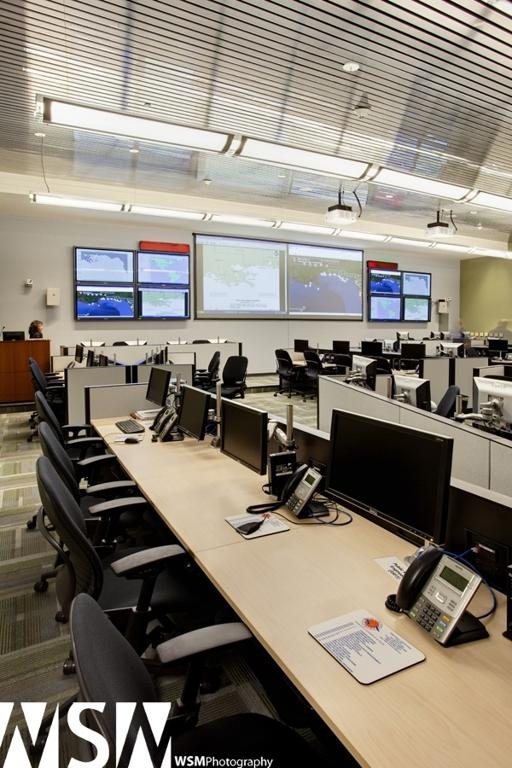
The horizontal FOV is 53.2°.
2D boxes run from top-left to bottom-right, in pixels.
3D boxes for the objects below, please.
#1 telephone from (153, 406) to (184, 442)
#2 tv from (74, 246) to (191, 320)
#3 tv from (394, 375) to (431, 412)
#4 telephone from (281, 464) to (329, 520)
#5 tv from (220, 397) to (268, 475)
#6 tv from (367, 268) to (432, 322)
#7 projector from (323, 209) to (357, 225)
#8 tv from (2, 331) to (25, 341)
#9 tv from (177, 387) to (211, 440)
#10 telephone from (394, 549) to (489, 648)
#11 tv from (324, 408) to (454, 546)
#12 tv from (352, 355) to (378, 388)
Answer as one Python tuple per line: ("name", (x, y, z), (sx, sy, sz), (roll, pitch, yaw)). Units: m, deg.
("telephone", (-0.545, 0.192, 3.203), (0.157, 0.274, 0.287), (4, 1, -14))
("tv", (-2.360, -1.866, 9.439), (1.453, 1.025, 0.113), (-2, 2, -28))
("tv", (1.015, 0.065, 3.333), (0.073, 0.196, 0.206), (-10, 15, -27))
("telephone", (0.193, 0.398, 1.909), (0.136, 0.159, 0.139), (5, 5, -7))
("tv", (-0.062, 0.253, 2.318), (0.043, 0.232, 0.328), (0, 4, -25))
("tv", (3.664, -2.311, 13.320), (1.473, 0.986, 0.147), (-2, 4, -33))
("projector", (1.107, -2.189, 6.658), (0.383, 0.184, 0.323), (-13, 11, -29))
("tv", (-3.643, -0.709, 7.704), (0.295, 0.147, 0.404), (-12, 11, -26))
("tv", (-0.364, 0.184, 3.017), (0.049, 0.231, 0.303), (9, 0, -25))
("telephone", (0.414, 0.474, 1.173), (0.160, 0.163, 0.211), (-3, 6, -13))
("tv", (0.387, 0.302, 1.550), (0.097, 0.275, 0.375), (-6, 9, -24))
("tv", (0.959, -0.098, 4.511), (0.089, 0.244, 0.283), (-1, 5, -15))
